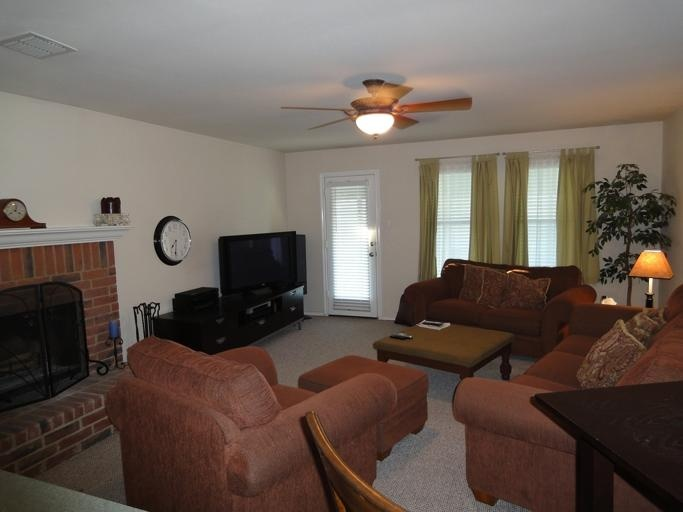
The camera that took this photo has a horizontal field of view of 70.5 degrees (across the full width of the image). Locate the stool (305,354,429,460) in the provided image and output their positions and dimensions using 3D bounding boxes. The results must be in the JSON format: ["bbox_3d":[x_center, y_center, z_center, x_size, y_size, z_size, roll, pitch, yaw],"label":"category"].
[{"bbox_3d":[0.212,1.017,3.641,0.895,0.596,0.673,-1,0,42],"label":"stool"}]

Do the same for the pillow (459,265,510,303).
[{"bbox_3d":[1.689,0.354,5.795,0.138,0.436,0.446,17,-7,-41],"label":"pillow"}]

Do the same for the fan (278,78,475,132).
[{"bbox_3d":[0.380,-1.201,4.026,0.834,0.412,1.299,-4,4,-15],"label":"fan"}]

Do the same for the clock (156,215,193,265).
[{"bbox_3d":[-1.861,-0.179,5.313,0.089,0.558,0.552,-1,1,17],"label":"clock"}]
